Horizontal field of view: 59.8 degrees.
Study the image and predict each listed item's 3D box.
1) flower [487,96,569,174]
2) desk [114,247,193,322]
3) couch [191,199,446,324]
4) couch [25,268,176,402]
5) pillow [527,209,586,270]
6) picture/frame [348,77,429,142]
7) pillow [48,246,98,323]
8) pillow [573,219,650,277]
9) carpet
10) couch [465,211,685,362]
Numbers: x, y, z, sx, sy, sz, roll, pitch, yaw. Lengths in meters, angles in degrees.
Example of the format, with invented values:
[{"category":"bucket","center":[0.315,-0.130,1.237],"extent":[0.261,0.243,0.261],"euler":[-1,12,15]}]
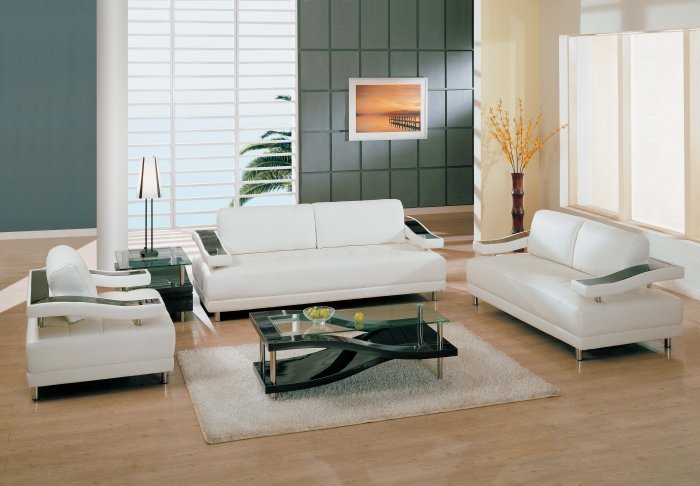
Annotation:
[{"category":"flower","center":[2.264,-1.432,8.140],"extent":[0.849,0.983,0.730],"euler":[-9,15,-13]},{"category":"desk","center":[-2.092,0.384,6.422],"extent":[0.819,0.553,1.319],"euler":[-3,13,-18]},{"category":"couch","center":[-0.286,0.062,6.484],"extent":[2.605,0.716,0.969],"euler":[-4,30,-21]},{"category":"couch","center":[-2.093,0.706,4.926],"extent":[1.259,0.536,1.258],"euler":[-1,8,-45]},{"category":"pillow","center":[2.027,-0.017,5.987],"extent":[0.468,0.378,0.611],"euler":[6,11,-35]},{"category":"picture/frame","center":[0.636,-2.195,9.965],"extent":[1.704,0.992,0.065],"euler":[-11,19,-36]},{"category":"pillow","center":[-2.121,0.330,4.644],"extent":[0.341,0.333,0.560],"euler":[-5,23,-23]},{"category":"pillow","center":[2.338,0.063,5.487],"extent":[0.256,0.361,0.600],"euler":[2,10,-28]},{"category":"carpet","center":[0.031,1.043,4.810],"extent":[2.653,0.215,1.288],"euler":[-6,12,-12]},{"category":"couch","center":[2.028,0.259,5.806],"extent":[1.094,0.695,1.907],"euler":[-12,16,-14]}]
